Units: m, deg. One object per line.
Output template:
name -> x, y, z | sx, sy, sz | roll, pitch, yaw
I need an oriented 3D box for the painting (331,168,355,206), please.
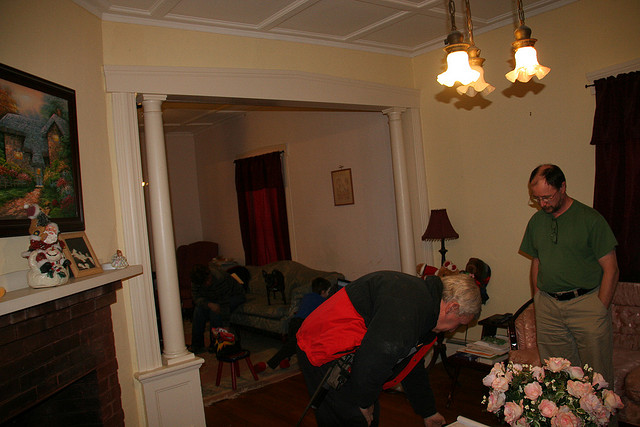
painting -> 0.347, -0.404, 6.593 | 0.048, 0.541, 0.435 | -7, 6, -36

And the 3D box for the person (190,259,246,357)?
person -> -1.491, 1.302, 6.455 | 0.752, 1.269, 0.403 | -5, 5, -16

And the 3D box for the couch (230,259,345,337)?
couch -> -0.682, 1.320, 6.811 | 0.959, 1.040, 1.910 | -15, 7, -39

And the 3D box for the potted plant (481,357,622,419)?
potted plant -> 1.330, 0.995, 2.632 | 0.494, 0.294, 0.505 | -2, 25, 8

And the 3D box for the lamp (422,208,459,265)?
lamp -> 1.401, 0.227, 5.308 | 0.325, 0.716, 0.347 | -6, 0, 42

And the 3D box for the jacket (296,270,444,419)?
jacket -> 0.337, 0.633, 2.872 | 0.747, 0.963, 0.808 | 11, 2, 10

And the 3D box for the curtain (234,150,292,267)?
curtain -> -0.995, -0.082, 7.947 | 0.297, 2.041, 1.364 | -7, 6, -37

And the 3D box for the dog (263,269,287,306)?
dog -> -0.640, 1.064, 6.623 | 0.301, 0.508, 0.450 | -4, 5, -5
